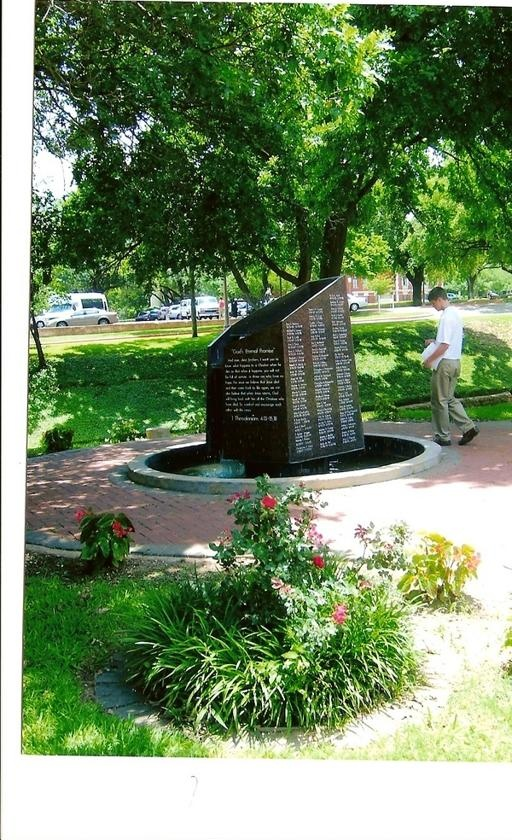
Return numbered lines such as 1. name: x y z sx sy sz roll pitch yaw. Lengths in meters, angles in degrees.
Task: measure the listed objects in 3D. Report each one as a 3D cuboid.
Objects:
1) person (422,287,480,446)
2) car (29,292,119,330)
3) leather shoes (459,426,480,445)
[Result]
1. person: 2.990 -0.796 9.532 0.753 2.513 1.539 0 8 19
2. car: -7.298 -4.548 25.368 1.350 1.434 4.041 0 8 20
3. leather shoes: 3.424 0.261 9.848 0.094 0.284 0.129 10 34 -40
